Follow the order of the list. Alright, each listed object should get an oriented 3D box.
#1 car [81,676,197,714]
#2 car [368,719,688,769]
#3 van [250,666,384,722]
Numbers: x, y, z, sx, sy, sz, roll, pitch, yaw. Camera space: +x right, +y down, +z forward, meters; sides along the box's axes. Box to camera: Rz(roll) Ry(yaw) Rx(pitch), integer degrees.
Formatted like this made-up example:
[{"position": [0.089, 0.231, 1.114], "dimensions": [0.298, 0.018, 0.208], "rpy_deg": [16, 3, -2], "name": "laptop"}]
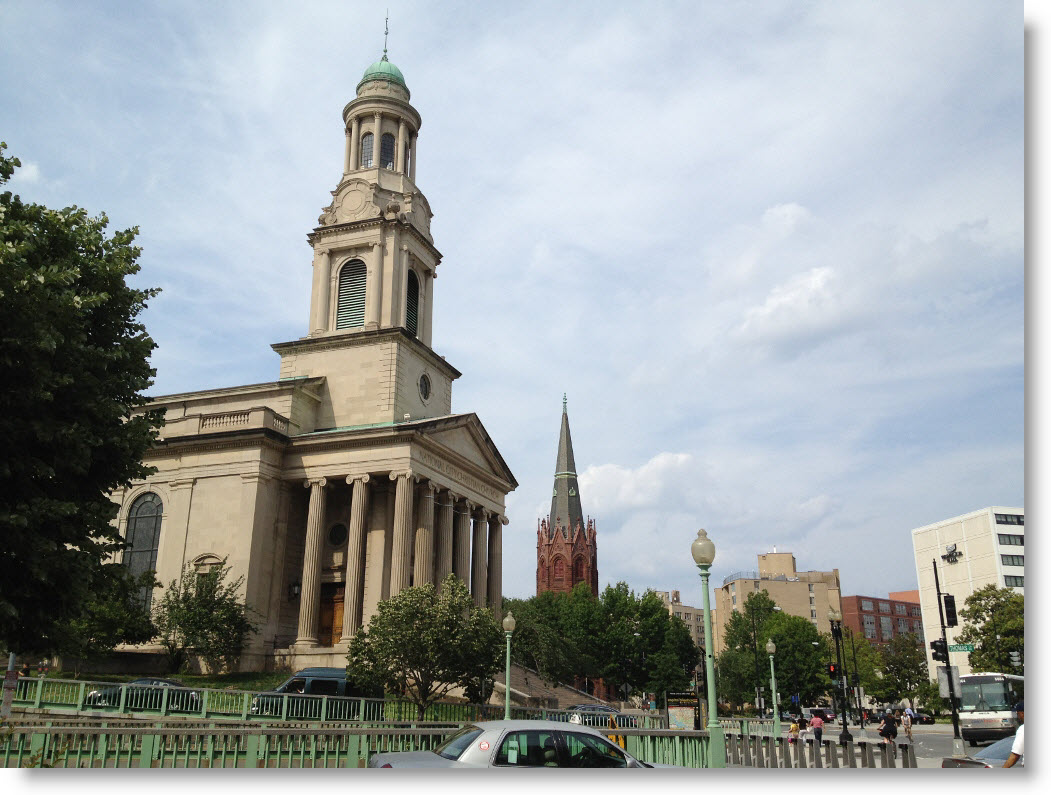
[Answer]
[{"position": [-12.455, 9.719, 27.273], "dimensions": [4.172, 0.971, 0.943], "rpy_deg": [-8, -21, 20], "name": "car"}, {"position": [-0.138, 5.656, 13.706], "dimensions": [4.096, 0.765, 0.986], "rpy_deg": [4, -20, -14], "name": "car"}, {"position": [-7.807, 10.025, 28.550], "dimensions": [1.760, 1.677, 3.517], "rpy_deg": [-5, -23, 44], "name": "van"}]
